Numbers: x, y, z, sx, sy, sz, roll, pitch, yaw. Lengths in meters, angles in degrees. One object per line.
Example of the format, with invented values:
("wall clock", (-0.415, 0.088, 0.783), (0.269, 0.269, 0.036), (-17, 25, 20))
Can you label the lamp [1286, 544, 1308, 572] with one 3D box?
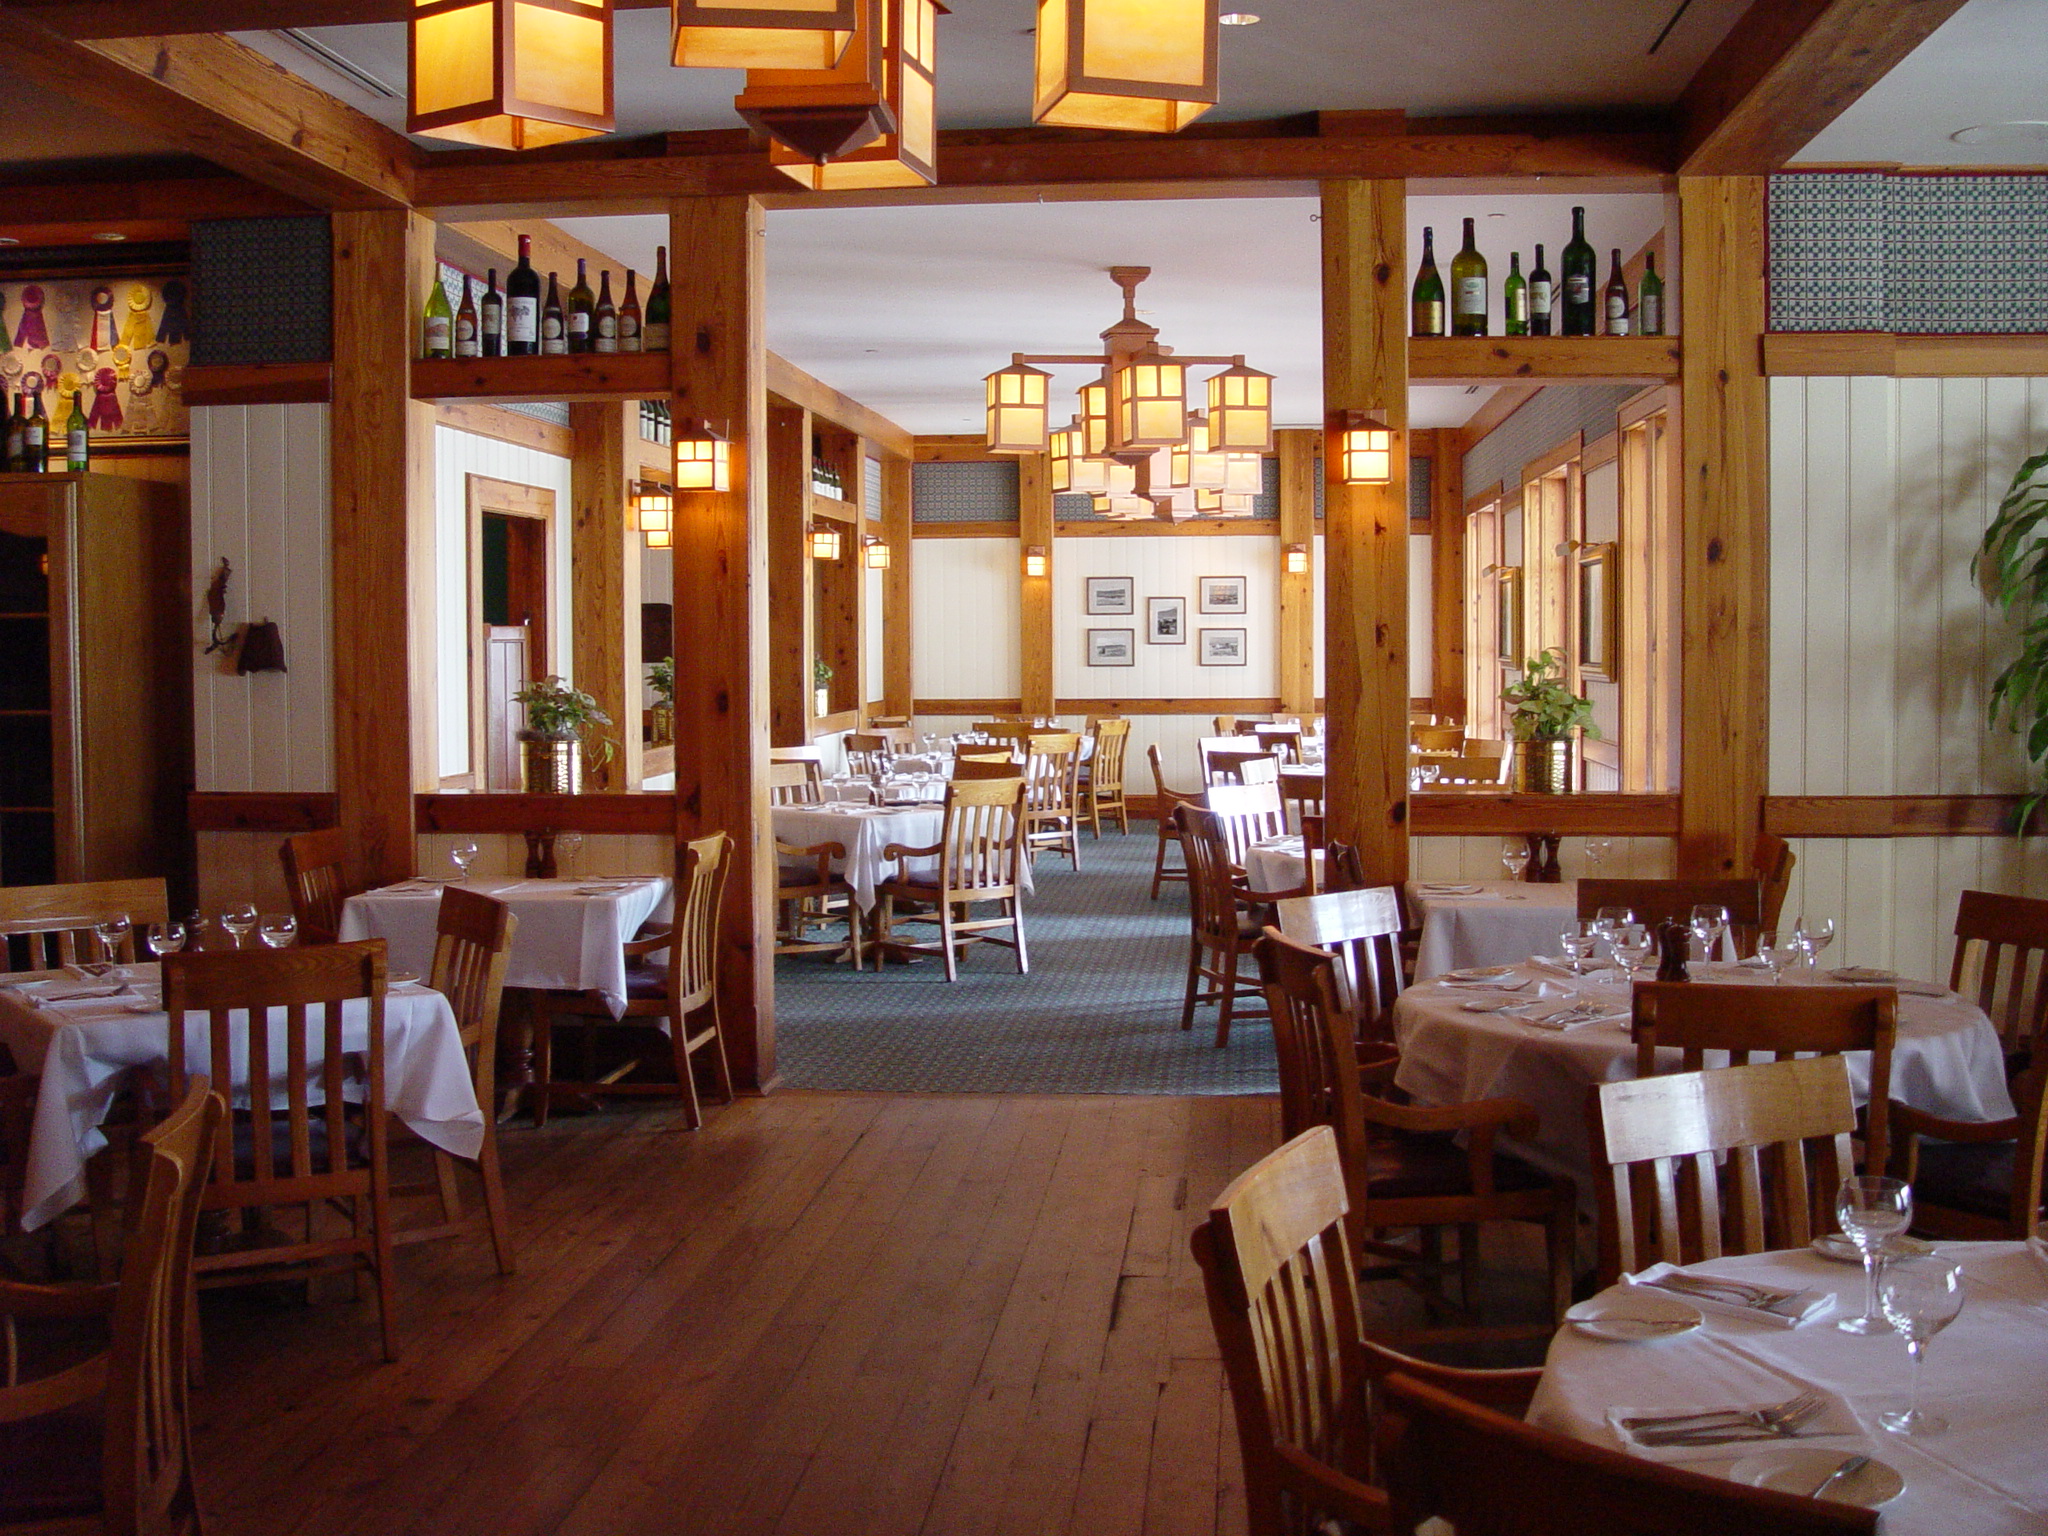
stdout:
("lamp", (2.579, -1.950, 15.397), (0.198, 0.348, 0.203), (3, 5, 8))

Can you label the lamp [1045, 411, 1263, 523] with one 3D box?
("lamp", (0.758, -1.752, 9.487), (1.369, 0.637, 1.399), (0, -1, -3))

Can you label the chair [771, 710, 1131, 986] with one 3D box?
("chair", (-0.625, 0.444, 9.574), (1.165, 1.199, 1.797), (-2, 5, -31))

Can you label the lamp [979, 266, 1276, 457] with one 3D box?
("lamp", (0.716, -1.818, 8.318), (1.258, 0.871, 1.280), (0, 0, 41))

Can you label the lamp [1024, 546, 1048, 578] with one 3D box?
("lamp", (0.131, -1.939, 15.658), (0.226, 0.262, 0.163), (-1, 6, -6))

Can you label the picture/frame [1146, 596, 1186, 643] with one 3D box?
("picture/frame", (1.392, -1.448, 15.815), (0.422, 0.538, 0.046), (0, 0, 0))

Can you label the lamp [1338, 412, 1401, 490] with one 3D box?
("lamp", (1.330, -1.212, 6.318), (0.239, 0.343, 0.219), (0, 0, 0))

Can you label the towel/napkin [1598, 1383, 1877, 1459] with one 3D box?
("towel/napkin", (0.981, 0.894, 2.247), (0.337, 0.049, 0.110), (-9, 12, 4))

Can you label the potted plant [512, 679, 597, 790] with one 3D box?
("potted plant", (-2.015, -0.140, 7.108), (0.323, 0.501, 0.753), (-2, 6, -16))

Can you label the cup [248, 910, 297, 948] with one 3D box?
("cup", (-2.178, 0.458, 4.739), (0.108, 0.108, 0.107), (1, -3, 0))
